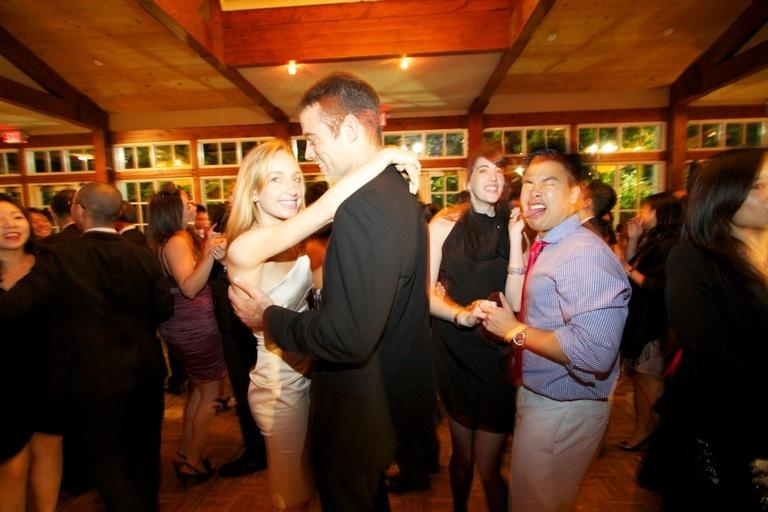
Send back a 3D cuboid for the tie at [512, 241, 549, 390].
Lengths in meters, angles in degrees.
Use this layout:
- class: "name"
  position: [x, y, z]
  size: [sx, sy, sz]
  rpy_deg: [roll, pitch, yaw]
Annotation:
- class: "tie"
  position: [1.017, 0.375, 3.456]
  size: [0.161, 1.080, 0.165]
  rpy_deg: [4, -4, 6]
